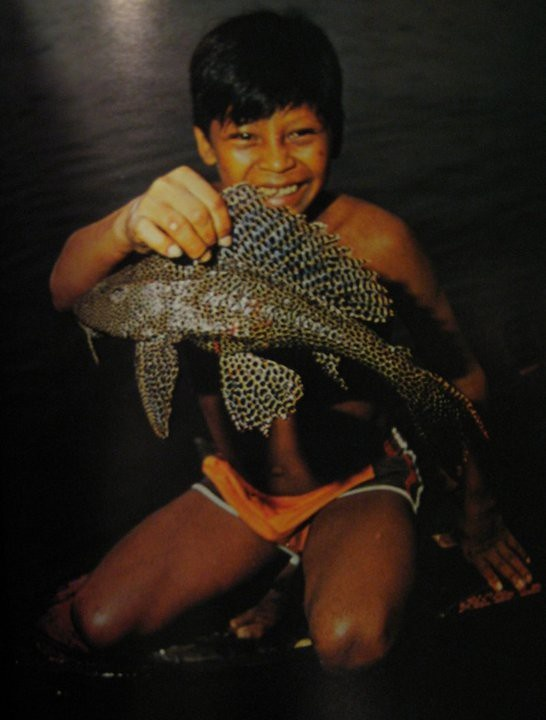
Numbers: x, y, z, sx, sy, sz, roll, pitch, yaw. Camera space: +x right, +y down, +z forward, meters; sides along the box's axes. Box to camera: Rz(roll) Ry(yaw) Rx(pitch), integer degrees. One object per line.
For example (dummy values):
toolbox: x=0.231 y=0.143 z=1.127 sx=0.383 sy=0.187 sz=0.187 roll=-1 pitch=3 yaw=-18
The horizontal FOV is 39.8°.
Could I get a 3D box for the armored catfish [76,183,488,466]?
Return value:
armored catfish: x=0.024 y=-0.096 z=1.511 sx=1.001 sy=0.414 sz=0.422 roll=14 pitch=32 yaw=27
